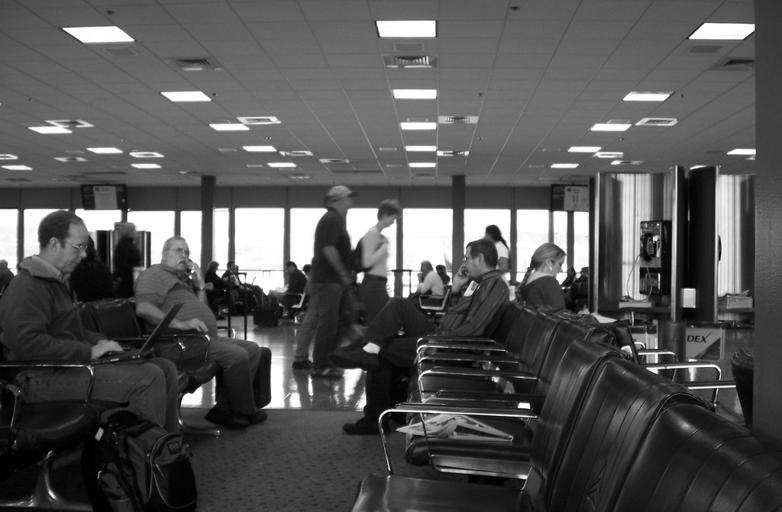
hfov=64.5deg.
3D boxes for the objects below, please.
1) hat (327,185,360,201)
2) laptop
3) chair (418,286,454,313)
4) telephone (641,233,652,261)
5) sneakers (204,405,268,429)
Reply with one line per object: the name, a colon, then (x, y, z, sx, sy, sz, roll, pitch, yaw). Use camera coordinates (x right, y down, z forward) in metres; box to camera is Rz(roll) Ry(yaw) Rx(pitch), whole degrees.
hat: (-0.551, -0.692, 6.846, 0.210, 0.173, 0.400, 1, 3, 12)
laptop: (-1.653, 0.504, 4.047, 0.434, 0.267, 0.447, 4, -6, 5)
chair: (0.562, 0.583, 8.148, 0.366, 0.410, 0.338, 6, -7, -13)
telephone: (2.703, -0.086, 6.484, 0.059, 0.283, 0.171, -1, 4, -16)
sneakers: (-1.262, 1.297, 5.057, 0.521, 0.208, 0.178, 0, 2, -12)
